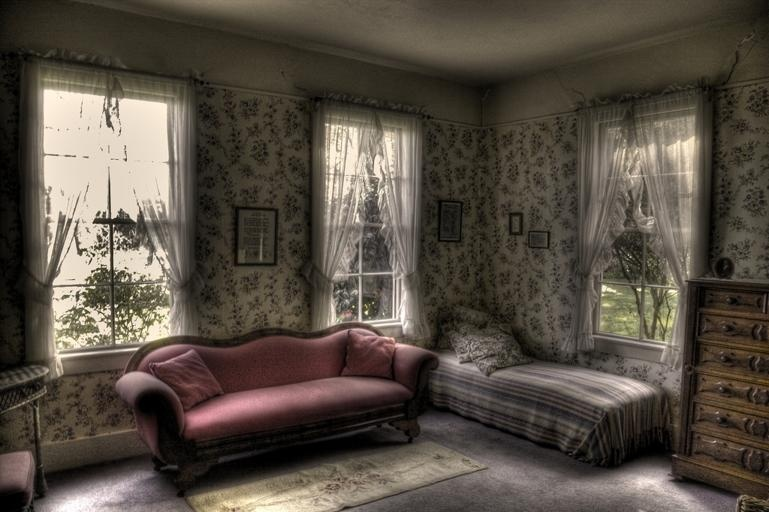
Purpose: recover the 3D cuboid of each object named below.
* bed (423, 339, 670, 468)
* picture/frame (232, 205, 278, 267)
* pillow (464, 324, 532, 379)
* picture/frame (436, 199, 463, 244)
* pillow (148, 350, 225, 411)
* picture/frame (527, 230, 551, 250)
[{"bbox_3d":[1.697,1.528,5.890,1.761,0.612,1.077,-1,1,41],"label":"bed"},{"bbox_3d":[-1.385,-0.223,5.806,0.642,0.864,0.062,-1,1,-31],"label":"picture/frame"},{"bbox_3d":[1.275,1.081,6.292,0.509,0.156,0.503,-9,25,-16],"label":"pillow"},{"bbox_3d":[0.793,-0.446,6.961,0.562,0.770,0.028,-1,2,-36],"label":"picture/frame"},{"bbox_3d":[-1.868,1.126,5.166,0.517,0.408,0.523,8,14,28],"label":"pillow"},{"bbox_3d":[1.864,-0.204,6.693,0.026,0.208,0.239,4,-1,-34],"label":"picture/frame"}]
